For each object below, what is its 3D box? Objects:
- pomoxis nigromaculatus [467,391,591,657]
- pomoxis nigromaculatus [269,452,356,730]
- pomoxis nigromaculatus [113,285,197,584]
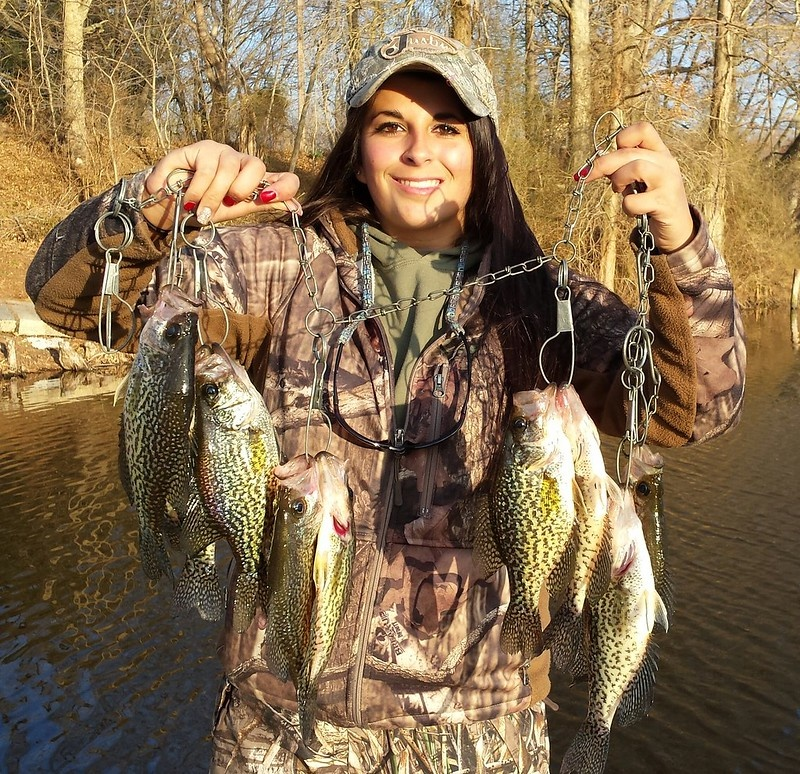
[{"bbox_3d":[0.325,0.336,2.082,0.251,0.697,0.169,5,12,7],"label":"pomoxis nigromaculatus"},{"bbox_3d":[-0.241,0.497,1.990,0.194,0.657,0.226,6,13,15],"label":"pomoxis nigromaculatus"},{"bbox_3d":[-0.625,0.127,2.090,0.249,0.749,0.143,15,17,43],"label":"pomoxis nigromaculatus"}]
